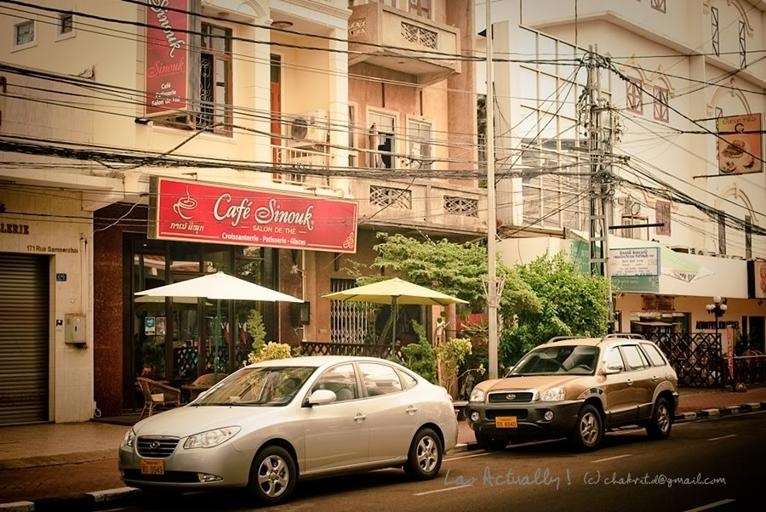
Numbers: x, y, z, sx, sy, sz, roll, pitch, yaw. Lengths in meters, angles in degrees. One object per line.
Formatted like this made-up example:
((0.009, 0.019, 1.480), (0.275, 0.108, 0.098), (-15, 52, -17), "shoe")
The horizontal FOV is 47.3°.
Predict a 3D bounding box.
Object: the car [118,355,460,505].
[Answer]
((-1.644, 3.474, 17.496), (5.784, 2.011, 2.872), (7, -12, -39), "car")

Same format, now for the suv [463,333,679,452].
((4.790, 3.510, 21.783), (4.579, 2.164, 2.716), (10, -16, -43), "suv")

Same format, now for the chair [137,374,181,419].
((-6.314, 3.765, 23.958), (1.449, 1.355, 1.397), (1, -2, -28), "chair")

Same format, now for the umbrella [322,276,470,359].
((0.234, 1.162, 25.676), (2.707, 1.759, 2.851), (-5, -9, 26), "umbrella")
